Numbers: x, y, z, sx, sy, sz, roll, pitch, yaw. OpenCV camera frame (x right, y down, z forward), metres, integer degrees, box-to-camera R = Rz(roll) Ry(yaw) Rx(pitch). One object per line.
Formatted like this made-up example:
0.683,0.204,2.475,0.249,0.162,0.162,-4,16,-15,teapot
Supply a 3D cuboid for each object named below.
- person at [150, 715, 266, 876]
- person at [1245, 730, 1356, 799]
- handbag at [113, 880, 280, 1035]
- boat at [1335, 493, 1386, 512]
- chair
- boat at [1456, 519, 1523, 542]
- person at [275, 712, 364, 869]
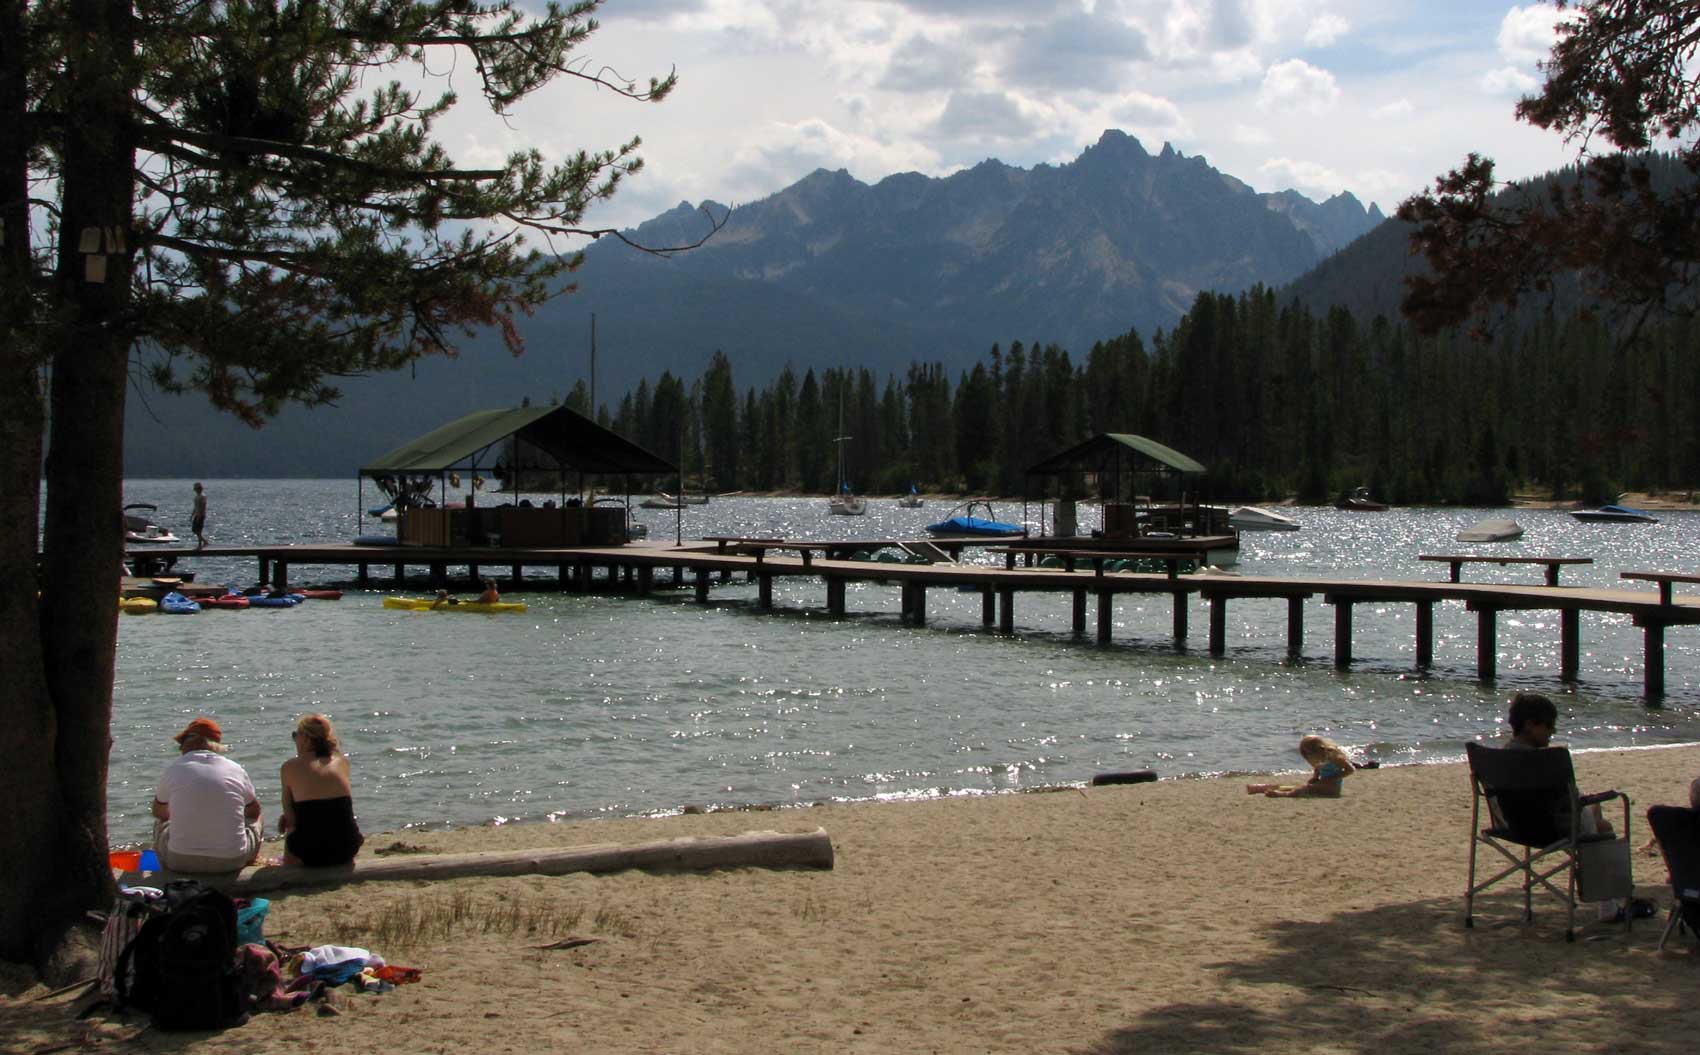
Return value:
-6.931,2.916,23.223,1.049,1.687,0.508,-5,12,-18,person
5.874,3.082,28.397,1.326,0.677,1.117,0,10,9,person
-6.725,4.372,21.805,1.588,1.470,1.193,-2,-4,26,handbag
30.613,-1.368,130.493,2.378,1.097,1.439,9,5,32,boat
7.856,3.274,23.408,2.316,2.926,2.235,0,-1,-29,chair
26.974,0.283,91.507,2.487,0.767,3.661,1,10,11,boat
-5.892,2.911,23.879,0.833,1.767,0.470,-4,11,-14,person
